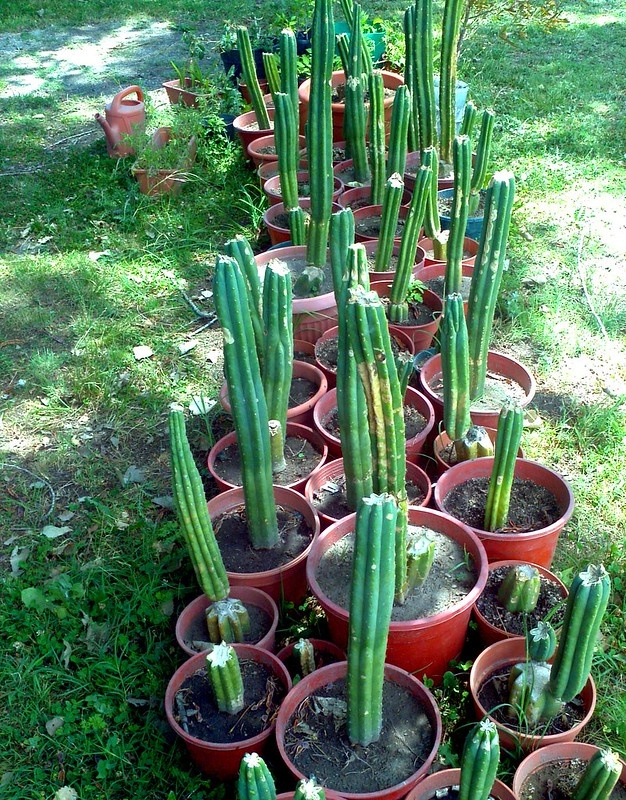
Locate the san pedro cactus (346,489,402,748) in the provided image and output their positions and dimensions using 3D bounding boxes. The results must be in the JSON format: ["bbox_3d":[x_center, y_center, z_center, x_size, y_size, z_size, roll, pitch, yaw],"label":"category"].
[{"bbox_3d":[0.136,0.501,1.626,0.101,0.697,0.166,9,34,23],"label":"san pedro cactus"}]

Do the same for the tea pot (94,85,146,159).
[{"bbox_3d":[-1.328,-1.950,5.083,0.260,0.441,0.464,31,50,20],"label":"tea pot"}]

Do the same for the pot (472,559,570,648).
[{"bbox_3d":[0.604,0.603,2.136,0.283,0.171,0.259,-2,33,2],"label":"pot"}]

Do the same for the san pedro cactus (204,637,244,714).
[{"bbox_3d":[-0.225,0.691,1.867,0.078,0.242,0.152,-11,30,-10],"label":"san pedro cactus"}]

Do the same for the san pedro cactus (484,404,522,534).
[{"bbox_3d":[0.567,0.206,2.187,0.145,0.414,0.071,-28,37,-33],"label":"san pedro cactus"}]

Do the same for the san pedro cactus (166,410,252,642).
[{"bbox_3d":[-0.275,0.371,1.942,0.133,0.729,0.237,-12,31,-10],"label":"san pedro cactus"}]

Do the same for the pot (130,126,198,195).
[{"bbox_3d":[-0.957,-1.549,4.829,0.345,0.226,0.607,6,55,4],"label":"pot"}]

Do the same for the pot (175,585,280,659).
[{"bbox_3d":[-0.245,0.641,2.133,0.247,0.153,0.227,-2,29,1],"label":"pot"}]

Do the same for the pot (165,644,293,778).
[{"bbox_3d":[-0.214,0.795,1.994,0.391,0.235,0.365,0,30,0],"label":"pot"}]

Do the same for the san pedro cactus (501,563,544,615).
[{"bbox_3d":[0.601,0.543,2.081,0.091,0.118,0.088,-28,51,-34],"label":"san pedro cactus"}]

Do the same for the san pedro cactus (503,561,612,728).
[{"bbox_3d":[0.587,0.609,1.763,0.182,0.411,0.113,13,14,25],"label":"san pedro cactus"}]

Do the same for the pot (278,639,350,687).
[{"bbox_3d":[-0.001,0.704,2.011,0.162,0.151,0.156,-3,27,2],"label":"pot"}]

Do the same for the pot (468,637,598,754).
[{"bbox_3d":[0.553,0.773,1.900,0.312,0.204,0.300,-3,34,2],"label":"pot"}]
